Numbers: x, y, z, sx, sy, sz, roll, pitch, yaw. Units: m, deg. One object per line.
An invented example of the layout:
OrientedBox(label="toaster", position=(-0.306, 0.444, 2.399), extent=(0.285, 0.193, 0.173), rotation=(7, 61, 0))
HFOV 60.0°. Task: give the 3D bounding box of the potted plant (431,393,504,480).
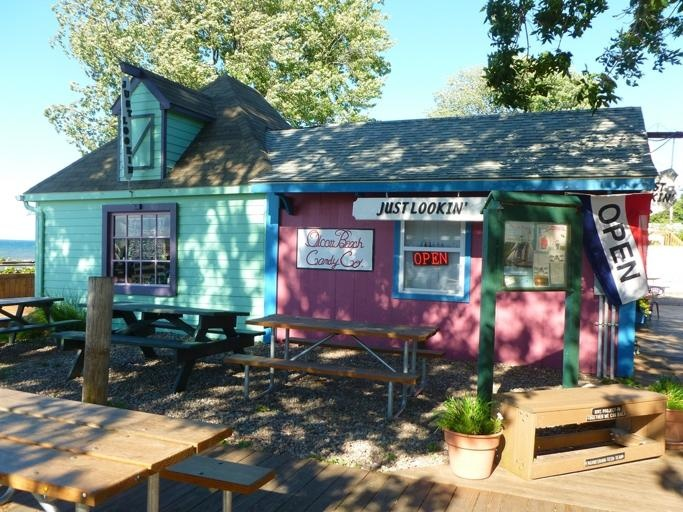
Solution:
OrientedBox(label="potted plant", position=(1.483, 2.016, 6.621), extent=(0.764, 0.833, 0.483), rotation=(-2, -4, 0))
